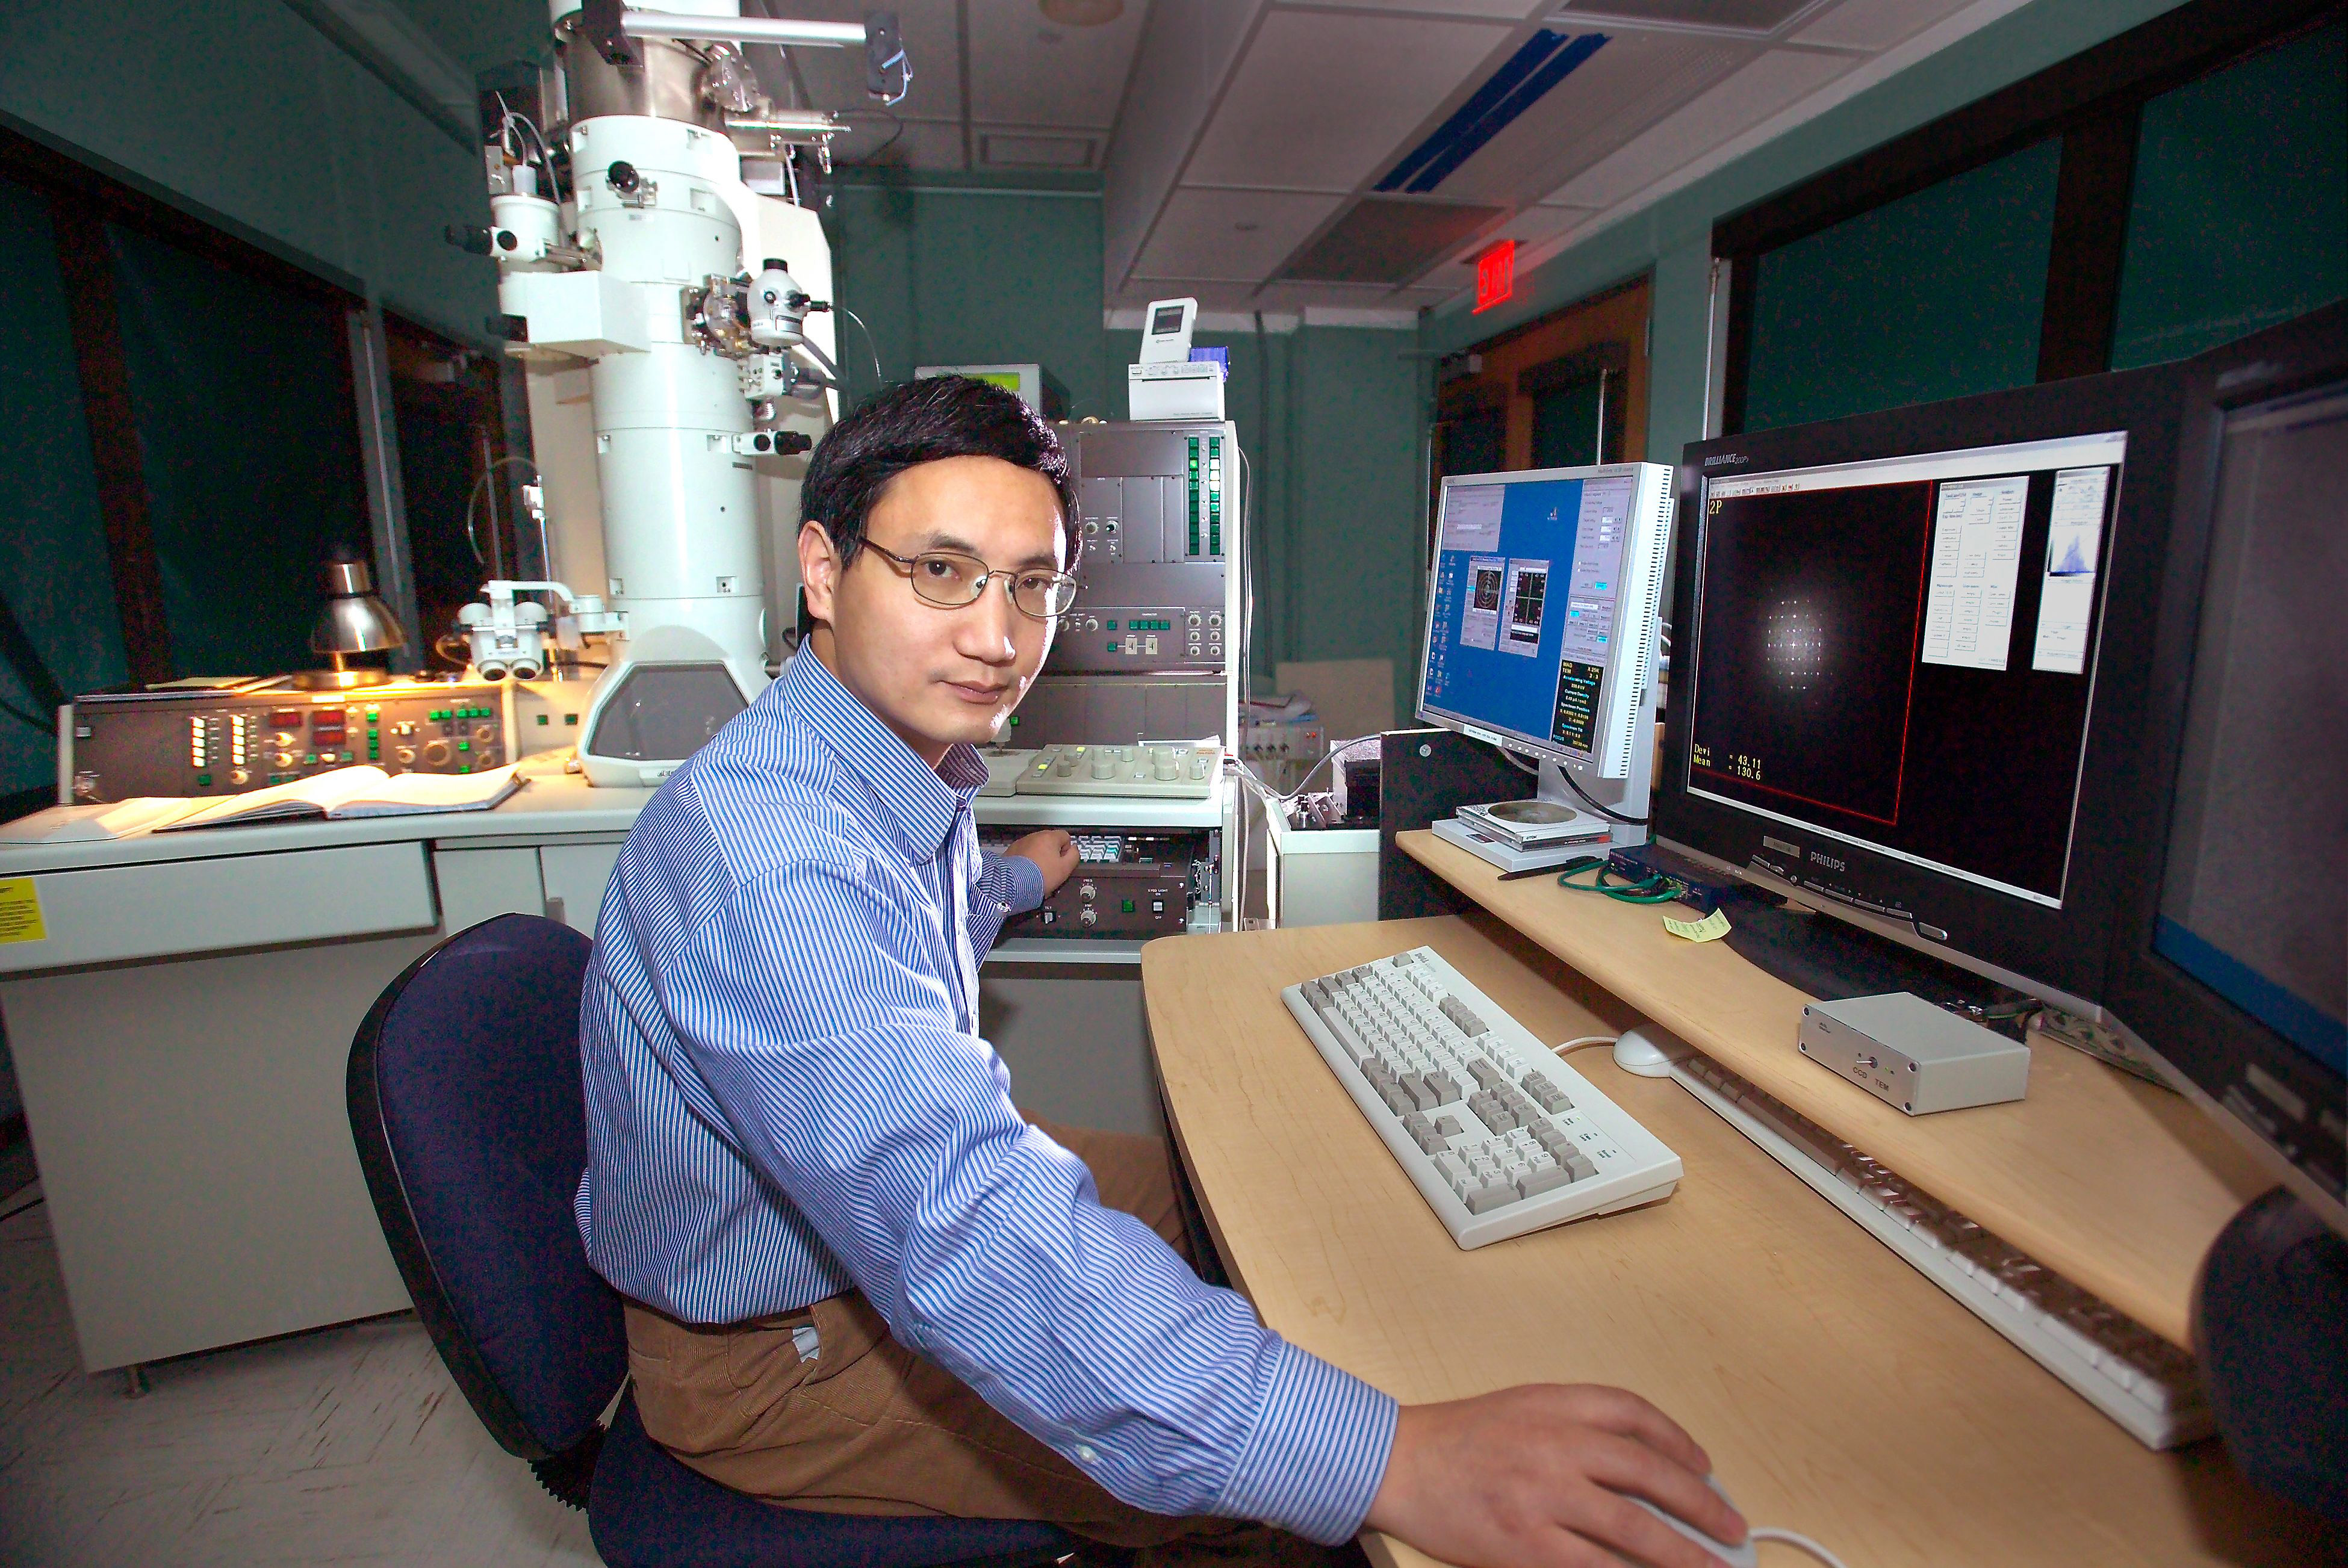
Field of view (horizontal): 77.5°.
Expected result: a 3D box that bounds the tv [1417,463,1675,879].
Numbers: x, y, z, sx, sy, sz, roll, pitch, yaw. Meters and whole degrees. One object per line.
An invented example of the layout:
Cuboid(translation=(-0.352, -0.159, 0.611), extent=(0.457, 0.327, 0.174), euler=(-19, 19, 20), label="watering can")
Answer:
Cuboid(translation=(0.643, -0.179, 2.492), extent=(0.350, 0.693, 0.711), euler=(-1, 5, -17), label="tv")

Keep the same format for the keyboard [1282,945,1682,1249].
Cuboid(translation=(0.433, 0.543, 2.081), extent=(0.292, 0.112, 0.632), euler=(-6, 23, -12), label="keyboard")

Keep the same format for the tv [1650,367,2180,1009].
Cuboid(translation=(1.026, -0.110, 2.014), extent=(0.097, 0.896, 0.881), euler=(0, 8, -36), label="tv")
